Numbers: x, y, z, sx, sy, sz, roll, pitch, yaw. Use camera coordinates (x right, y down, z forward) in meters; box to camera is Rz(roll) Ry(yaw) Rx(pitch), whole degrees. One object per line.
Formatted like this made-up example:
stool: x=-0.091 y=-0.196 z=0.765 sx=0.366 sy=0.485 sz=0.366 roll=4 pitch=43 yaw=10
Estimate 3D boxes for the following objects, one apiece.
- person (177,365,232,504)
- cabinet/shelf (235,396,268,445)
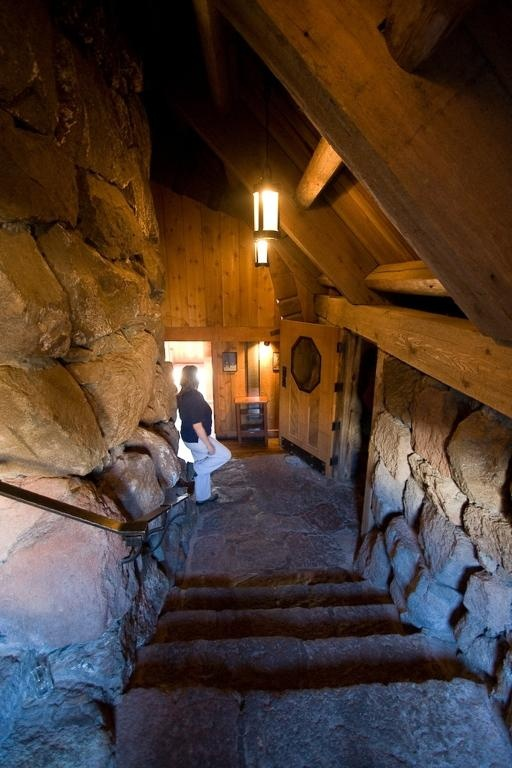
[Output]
person: x=-0.511 y=0.483 z=4.561 sx=0.344 sy=1.319 sz=0.494 roll=7 pitch=8 yaw=38
cabinet/shelf: x=-0.065 y=0.513 z=7.142 sx=0.624 sy=0.854 sz=0.556 roll=0 pitch=18 yaw=1
